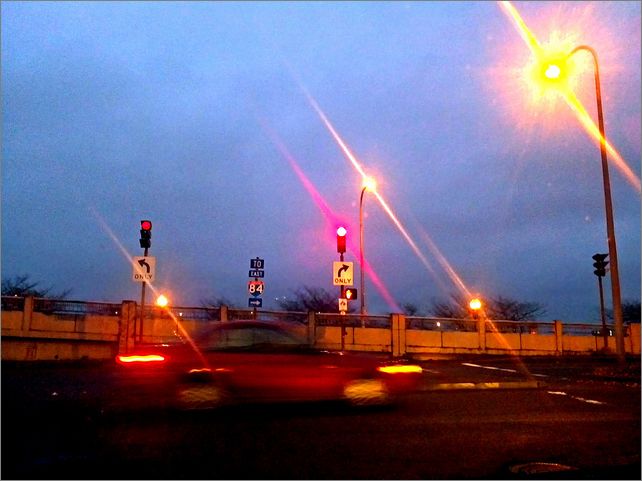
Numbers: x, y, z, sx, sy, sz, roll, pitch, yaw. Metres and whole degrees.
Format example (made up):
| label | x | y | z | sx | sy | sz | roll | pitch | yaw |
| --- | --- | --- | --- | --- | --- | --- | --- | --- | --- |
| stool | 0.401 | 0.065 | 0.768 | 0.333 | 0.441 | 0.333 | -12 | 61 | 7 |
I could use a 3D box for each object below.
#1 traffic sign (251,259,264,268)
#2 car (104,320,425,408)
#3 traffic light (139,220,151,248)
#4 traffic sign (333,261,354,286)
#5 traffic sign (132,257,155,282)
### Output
| label | x | y | z | sx | sy | sz | roll | pitch | yaw |
| --- | --- | --- | --- | --- | --- | --- | --- | --- | --- |
| traffic sign | -3.627 | 1.314 | 35.614 | 0.566 | 0.599 | 0.605 | -10 | -13 | 25 |
| car | -1.228 | 2.483 | 12.466 | 5.482 | 1.918 | 1.583 | -7 | -11 | 8 |
| traffic light | -6.117 | -0.168 | 21.914 | 0.324 | 0.870 | 0.419 | 1 | -11 | -22 |
| traffic sign | 0.911 | 1.377 | 25.813 | 0.774 | 1.012 | 0.480 | -3 | -11 | -6 |
| traffic sign | -6.099 | 1.010 | 21.673 | 0.669 | 0.857 | 0.515 | -2 | -11 | -9 |
